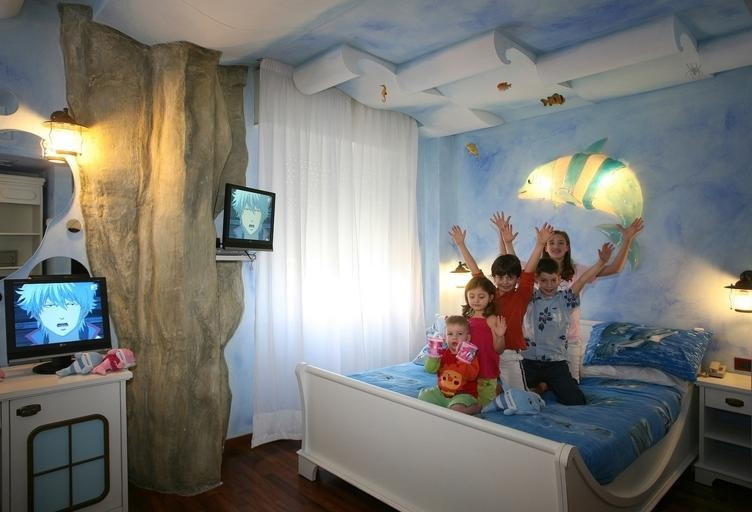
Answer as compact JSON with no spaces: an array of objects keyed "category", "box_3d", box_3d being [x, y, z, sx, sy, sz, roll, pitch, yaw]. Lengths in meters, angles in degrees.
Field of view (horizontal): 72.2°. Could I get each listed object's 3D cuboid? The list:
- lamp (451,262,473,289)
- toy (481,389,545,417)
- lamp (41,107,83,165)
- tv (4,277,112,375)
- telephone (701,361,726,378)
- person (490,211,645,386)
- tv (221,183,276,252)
[{"category":"lamp","box_3d":[0.925,0.229,5.718,0.277,0.292,0.273,3,-8,-21]},{"category":"toy","box_3d":[0.978,1.021,3.628,0.292,0.096,0.204,-6,-8,1]},{"category":"lamp","box_3d":[-2.244,-0.844,3.705,0.348,0.369,0.353,-4,8,-40]},{"category":"tv","box_3d":[-2.248,0.503,3.595,0.641,0.608,0.227,-1,-16,-35]},{"category":"telephone","box_3d":[2.805,0.936,4.270,0.177,0.062,0.129,-17,7,-37]},{"category":"person","box_3d":[1.695,0.405,4.430,1.164,1.768,0.370,-14,-36,34]},{"category":"tv","box_3d":[-1.060,-0.307,4.218,0.592,0.655,0.112,2,-2,-42]}]
